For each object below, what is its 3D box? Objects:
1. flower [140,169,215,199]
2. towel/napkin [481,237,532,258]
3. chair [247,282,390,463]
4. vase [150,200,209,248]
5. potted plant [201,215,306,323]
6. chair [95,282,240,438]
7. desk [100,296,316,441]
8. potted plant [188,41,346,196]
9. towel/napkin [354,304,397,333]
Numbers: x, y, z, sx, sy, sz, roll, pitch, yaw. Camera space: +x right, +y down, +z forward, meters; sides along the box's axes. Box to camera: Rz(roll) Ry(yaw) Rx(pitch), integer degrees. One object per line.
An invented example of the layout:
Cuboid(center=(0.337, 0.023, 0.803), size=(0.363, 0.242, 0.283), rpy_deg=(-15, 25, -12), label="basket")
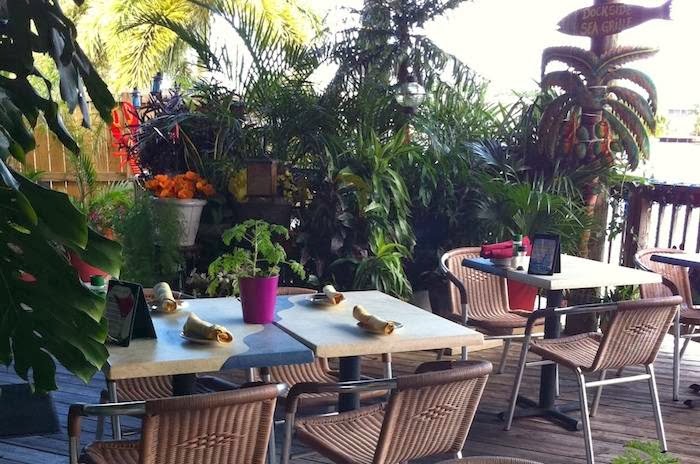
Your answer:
Cuboid(center=(-1.430, -0.392, 5.580), size=(0.563, 0.244, 0.340), rpy_deg=(3, 1, -19), label="flower")
Cuboid(center=(1.105, 0.115, 4.595), size=(0.197, 0.073, 0.194), rpy_deg=(-5, 4, -12), label="towel/napkin")
Cuboid(center=(-0.195, 0.639, 3.791), size=(0.965, 1.004, 0.908), rpy_deg=(1, -2, -29), label="chair")
Cuboid(center=(-1.510, -0.099, 5.597), size=(0.533, 0.410, 0.557), rpy_deg=(0, 0, 44), label="vase")
Cuboid(center=(-0.649, 0.210, 4.194), size=(0.683, 0.676, 0.754), rpy_deg=(0, -1, 34), label="potted plant")
Cuboid(center=(-0.880, 0.543, 3.264), size=(0.674, 1.020, 0.716), rpy_deg=(-1, 12, -21), label="chair")
Cuboid(center=(-0.733, 0.499, 3.135), size=(0.764, 0.477, 0.743), rpy_deg=(-3, 7, -23), label="desk")
Cuboid(center=(-0.701, -0.896, 6.194), size=(1.387, 1.395, 1.280), rpy_deg=(-3, 7, -39), label="potted plant")
Cuboid(center=(0.105, 0.421, 3.220), size=(0.241, 0.104, 0.173), rpy_deg=(3, 1, 17), label="towel/napkin")
